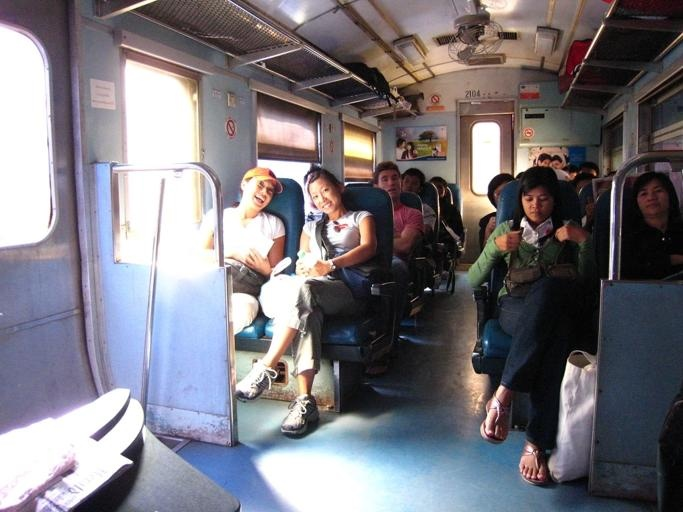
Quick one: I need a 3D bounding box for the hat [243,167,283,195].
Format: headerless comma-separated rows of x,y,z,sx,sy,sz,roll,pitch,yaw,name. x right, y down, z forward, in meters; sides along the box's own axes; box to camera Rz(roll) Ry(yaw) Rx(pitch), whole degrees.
-0.642,-0.585,3.928,0.247,0.143,0.184,9,-12,37,hat

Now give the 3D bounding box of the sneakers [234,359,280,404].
-0.523,0.779,3.371,0.162,0.143,0.365,35,33,11,sneakers

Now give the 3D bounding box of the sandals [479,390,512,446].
0.860,0.880,2.811,0.136,0.130,0.370,2,10,15,sandals

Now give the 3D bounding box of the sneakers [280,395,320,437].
-0.261,1.022,3.217,0.129,0.161,0.332,-4,-9,19,sneakers
